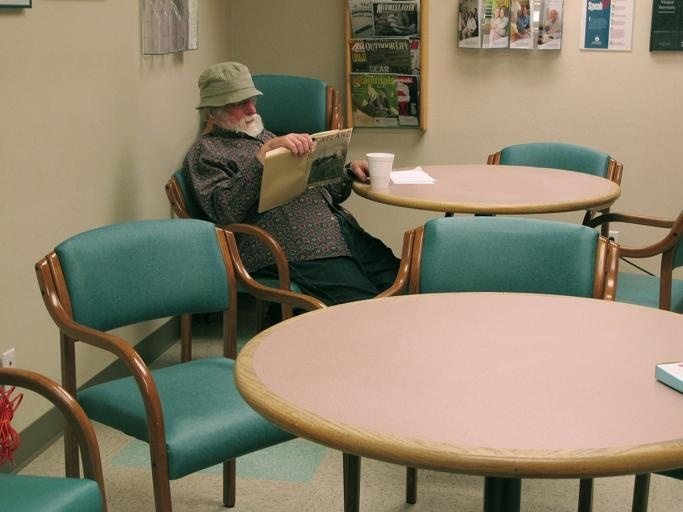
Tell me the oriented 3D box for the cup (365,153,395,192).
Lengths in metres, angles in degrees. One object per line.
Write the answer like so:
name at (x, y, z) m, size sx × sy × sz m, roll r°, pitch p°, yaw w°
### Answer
cup at (0.166, -0.366, 2.705) m, size 0.134 × 0.146 × 0.138 m, roll 0°, pitch 6°, yaw 0°

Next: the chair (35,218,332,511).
chair at (-0.499, 0.335, 1.884) m, size 0.675 × 1.046 × 0.685 m, roll 17°, pitch 20°, yaw 40°

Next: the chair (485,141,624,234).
chair at (1.134, -0.374, 3.498) m, size 0.535 × 0.789 × 0.544 m, roll 6°, pitch 11°, yaw 17°

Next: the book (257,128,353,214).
book at (-0.167, -0.371, 2.811) m, size 0.472 × 0.344 × 0.052 m, roll -25°, pitch 60°, yaw -32°

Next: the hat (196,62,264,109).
hat at (-0.542, -0.810, 3.045) m, size 0.221 × 0.133 × 0.242 m, roll -5°, pitch 16°, yaw 2°

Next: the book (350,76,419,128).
book at (0.293, -1.006, 4.035) m, size 0.297 × 0.238 × 0.042 m, roll 2°, pitch 22°, yaw 8°

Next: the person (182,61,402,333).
person at (-0.215, -0.330, 3.011) m, size 0.890 × 1.237 × 1.035 m, roll -7°, pitch 6°, yaw -42°

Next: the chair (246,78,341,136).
chair at (-0.228, -0.817, 3.437) m, size 0.327 × 0.435 × 0.369 m, roll -2°, pitch 9°, yaw -10°

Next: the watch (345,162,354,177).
watch at (0.037, -0.420, 3.004) m, size 0.050 × 0.060 × 0.056 m, roll 12°, pitch 60°, yaw -1°
